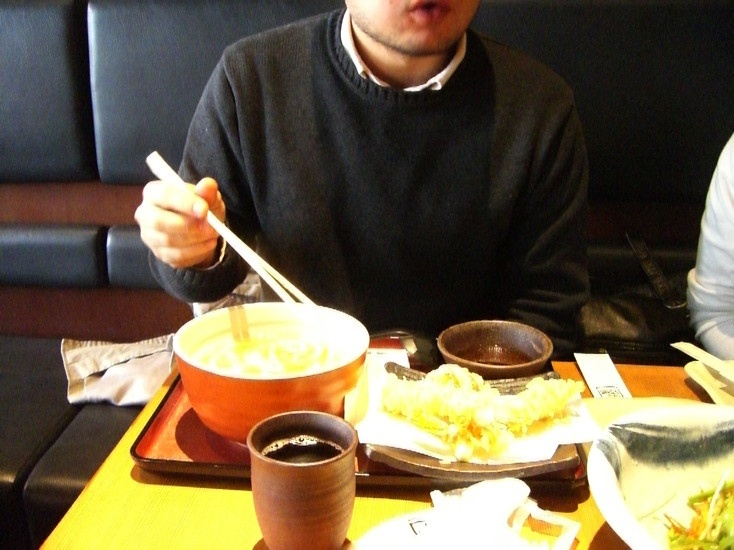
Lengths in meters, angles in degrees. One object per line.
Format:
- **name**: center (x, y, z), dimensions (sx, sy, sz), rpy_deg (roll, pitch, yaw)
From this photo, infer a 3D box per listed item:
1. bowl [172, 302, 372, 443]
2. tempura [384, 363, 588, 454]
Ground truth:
- **bowl**: center (-0.243, 0.179, 1.353), dimensions (0.300, 0.154, 0.304), rpy_deg (-30, -10, -6)
- **tempura**: center (0.211, 0.246, 1.225), dimensions (0.238, 0.090, 0.191), rpy_deg (5, 12, -5)
